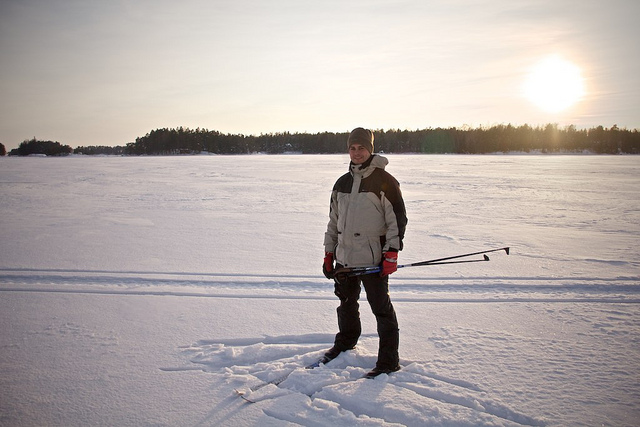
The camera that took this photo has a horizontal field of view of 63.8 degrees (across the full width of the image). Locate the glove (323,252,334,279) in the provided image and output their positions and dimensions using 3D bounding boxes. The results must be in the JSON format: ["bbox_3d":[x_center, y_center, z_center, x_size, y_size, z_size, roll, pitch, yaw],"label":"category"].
[{"bbox_3d":[0.127,0.709,7.009,0.115,0.297,0.225,5,3,5],"label":"glove"}]

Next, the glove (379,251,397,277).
[{"bbox_3d":[0.896,0.659,6.690,0.222,0.346,0.136,1,6,3],"label":"glove"}]

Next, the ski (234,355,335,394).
[{"bbox_3d":[-0.446,2.131,6.705,0.961,0.060,0.094,-18,53,-18],"label":"ski"}]

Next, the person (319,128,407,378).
[{"bbox_3d":[0.581,0.506,6.809,1.095,3.210,0.554,2,6,13],"label":"person"}]
